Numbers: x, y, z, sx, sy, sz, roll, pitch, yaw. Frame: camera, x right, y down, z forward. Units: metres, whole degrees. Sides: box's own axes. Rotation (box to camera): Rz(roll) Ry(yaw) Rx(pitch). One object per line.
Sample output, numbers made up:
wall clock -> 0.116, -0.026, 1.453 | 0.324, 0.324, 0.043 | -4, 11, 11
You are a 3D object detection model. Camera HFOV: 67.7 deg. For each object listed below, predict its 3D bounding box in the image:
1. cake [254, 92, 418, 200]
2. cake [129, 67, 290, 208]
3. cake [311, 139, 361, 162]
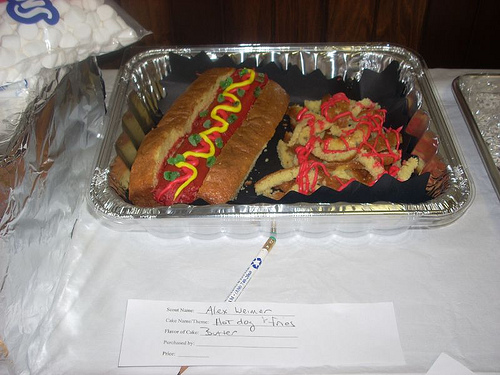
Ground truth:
cake -> 0.380, -0.216, 1.813 | 0.736, 0.183, 0.617 | -6, 50, -1
cake -> -0.183, -0.245, 1.799 | 0.473, 0.250, 0.836 | 25, 57, 10
cake -> 0.389, -0.161, 1.742 | 0.117, 0.034, 0.125 | 13, 42, 15
